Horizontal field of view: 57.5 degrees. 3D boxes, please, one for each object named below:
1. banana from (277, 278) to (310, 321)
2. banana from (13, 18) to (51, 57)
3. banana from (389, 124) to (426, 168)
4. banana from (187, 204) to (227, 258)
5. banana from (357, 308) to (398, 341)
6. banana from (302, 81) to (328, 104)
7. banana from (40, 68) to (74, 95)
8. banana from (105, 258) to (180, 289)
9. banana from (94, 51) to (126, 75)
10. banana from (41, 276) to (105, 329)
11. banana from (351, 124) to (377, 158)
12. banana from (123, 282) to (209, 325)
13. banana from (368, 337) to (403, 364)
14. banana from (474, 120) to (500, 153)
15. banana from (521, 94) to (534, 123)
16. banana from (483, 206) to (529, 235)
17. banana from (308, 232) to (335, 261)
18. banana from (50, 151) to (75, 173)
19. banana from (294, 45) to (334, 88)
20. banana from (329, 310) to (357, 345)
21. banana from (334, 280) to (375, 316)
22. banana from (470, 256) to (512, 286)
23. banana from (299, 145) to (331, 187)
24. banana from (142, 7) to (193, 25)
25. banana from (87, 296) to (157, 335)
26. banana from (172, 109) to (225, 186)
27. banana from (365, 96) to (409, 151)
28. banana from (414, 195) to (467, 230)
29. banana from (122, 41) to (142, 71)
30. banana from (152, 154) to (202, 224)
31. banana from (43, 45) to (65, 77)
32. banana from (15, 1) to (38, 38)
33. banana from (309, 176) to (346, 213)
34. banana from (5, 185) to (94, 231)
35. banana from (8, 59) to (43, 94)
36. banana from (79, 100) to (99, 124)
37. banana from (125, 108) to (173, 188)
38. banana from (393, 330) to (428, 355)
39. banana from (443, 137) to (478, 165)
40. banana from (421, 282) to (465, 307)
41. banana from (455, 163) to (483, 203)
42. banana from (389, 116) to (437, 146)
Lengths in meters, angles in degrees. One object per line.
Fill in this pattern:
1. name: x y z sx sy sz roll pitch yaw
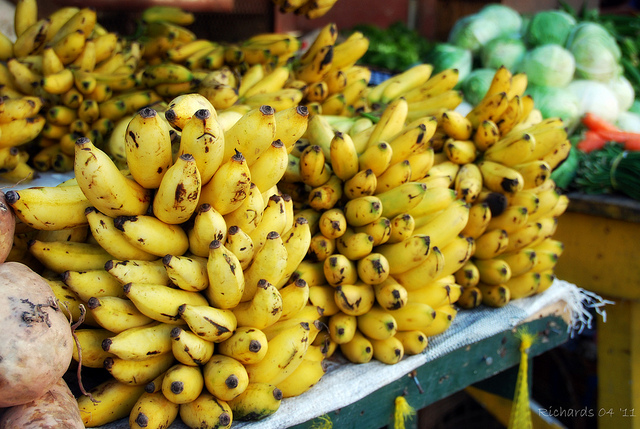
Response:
1. banana: -0.113 0.353 2.489 0.105 0.188 0.064 40 21 -22
2. banana: -1.637 -1.004 3.324 0.086 0.268 0.088 36 20 -12
3. banana: 0.410 -0.309 2.700 0.058 0.219 0.071 41 20 4
4. banana: -0.448 0.064 2.323 0.149 0.209 0.122 3 12 -9
5. banana: 0.284 0.509 2.685 0.131 0.148 0.280 -10 3 -10
6. banana: -0.021 -0.736 3.503 0.143 0.134 0.125 13 37 -5
7. banana: -1.431 -0.738 3.245 0.130 0.090 0.208 21 28 32
8. banana: -0.735 0.245 2.411 0.118 0.136 0.421 -6 1 -44
9. banana: -1.297 -0.923 3.571 0.219 0.074 0.050 -42 98 -24
10. banana: -0.961 0.342 2.268 0.239 0.052 0.079 40 -1 -12
11. banana: 0.222 -0.377 2.899 0.062 0.079 0.237 11 45 33
12. banana: -0.658 0.383 2.320 0.124 0.298 0.132 0 70 31
13. banana: 0.305 0.610 2.664 0.168 0.088 0.081 14 32 33
14. banana: 0.828 -0.383 2.903 0.082 0.161 0.056 33 51 13
15. banana: 1.111 -0.584 3.104 0.060 0.201 0.057 -4 39 15
16. banana: 0.929 0.028 2.832 0.242 0.165 0.084 -20 70 10
17. banana: 0.005 0.152 2.602 0.066 0.117 0.090 28 44 -24
18. banana: -1.548 -0.304 3.495 0.150 0.145 0.072 7 38 -11
19. banana: 0.030 -0.951 3.684 0.106 0.219 0.358 17 17 1
20. banana: 0.090 0.542 2.674 0.126 0.136 0.245 8 -8 1
21. banana: 0.157 0.383 2.594 0.185 0.141 0.113 -16 47 -35
22. banana: 0.848 0.259 2.903 0.080 0.168 0.240 -44 25 -27
23. banana: -0.025 -0.222 2.723 0.099 0.200 0.127 -10 39 14
24. banana: -1.223 -1.581 4.710 0.413 0.142 0.218 0 -6 -4
25. banana: -0.797 0.411 2.296 0.349 0.118 0.098 15 65 -43
26. banana: -0.484 -0.308 2.362 0.192 0.391 0.125 0 73 -14
27. banana: 0.363 -0.484 2.949 0.131 0.156 0.467 28 -4 2
28. banana: 0.552 -0.005 2.700 0.221 0.076 0.055 -29 5 0
29. banana: -1.216 -1.005 3.781 0.096 0.164 0.298 5 39 -13
30. banana: -0.573 -0.079 2.346 0.197 0.452 0.170 3 46 -9
31. banana: -1.488 -0.835 3.212 0.090 0.175 0.055 -15 11 17
32. banana: -1.711 -1.133 3.372 0.097 0.211 0.067 6 12 -10
33. banana: 0.035 -0.120 2.719 0.097 0.093 0.228 29 45 6
34. banana: -1.009 -0.040 2.380 0.475 0.141 0.154 -3 15 -40
35. banana: -1.642 -0.762 3.276 0.074 0.255 0.082 -32 39 13
36. banana: -1.332 -0.590 3.364 0.090 0.127 0.071 -1 29 -8
37. banana: -0.685 -0.267 2.340 0.191 0.345 0.196 -2 40 -18
38. banana: 0.425 0.576 2.672 0.155 0.081 0.077 0 39 46
39. banana: 0.708 -0.311 2.889 0.103 0.101 0.166 -4 -3 -31
40. banana: 0.563 0.370 2.699 0.119 0.066 0.225 -6 2 16
41. banana: 0.728 -0.147 2.867 0.112 0.090 0.217 27 41 -15
42. banana: 0.493 -0.417 2.877 0.094 0.113 0.340 49 6 -5
